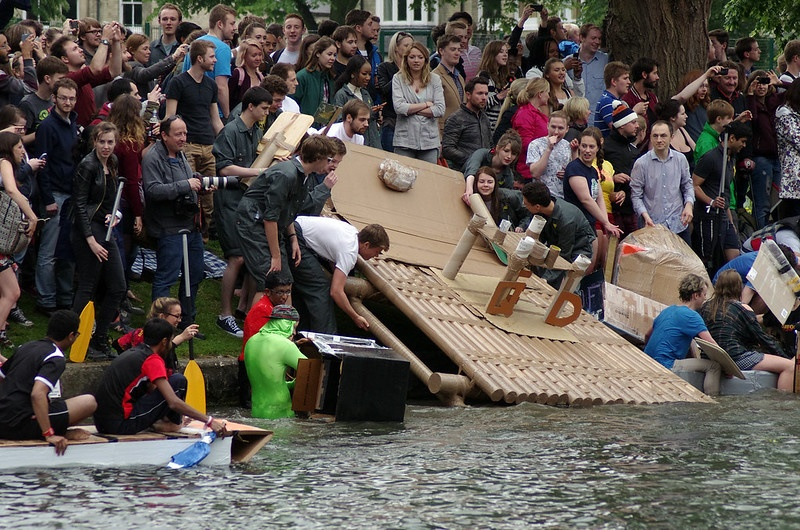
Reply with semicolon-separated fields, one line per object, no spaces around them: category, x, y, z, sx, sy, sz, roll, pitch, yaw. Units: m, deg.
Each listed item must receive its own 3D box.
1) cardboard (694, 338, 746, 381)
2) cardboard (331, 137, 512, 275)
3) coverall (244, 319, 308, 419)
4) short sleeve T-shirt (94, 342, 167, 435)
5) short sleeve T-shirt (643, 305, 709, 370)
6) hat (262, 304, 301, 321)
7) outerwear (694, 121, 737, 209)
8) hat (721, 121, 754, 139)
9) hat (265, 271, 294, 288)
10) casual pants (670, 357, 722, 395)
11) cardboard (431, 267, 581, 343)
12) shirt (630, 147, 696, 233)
cardboard;4.239;1.266;18.214;0.643;0.562;0.380;2;5;15
cardboard;0.194;-0.765;19.156;1.992;0.533;1.892;18;41;-28
coverall;-1.528;1.258;16.544;0.682;1.196;0.314;0;5;-7
short sleeve T-shirt;-3.049;1.338;15.170;0.904;0.942;0.711;-2;14;-44
short sleeve T-shirt;3.729;1.009;18.475;0.351;0.610;0.613;-1;32;-48
hat;-1.414;0.586;16.577;0.350;0.200;0.191;-1;5;-9
outerwear;4.847;-1.547;21.171;0.590;1.710;1.204;-6;3;14
hat;5.181;-2.141;21.176;0.347;0.370;0.288;-7;11;21
hat;-1.497;0.173;16.939;0.251;0.264;0.207;-17;-23;20
casual pants;3.983;1.466;18.401;0.499;0.399;0.521;13;-1;19
cardboard;1.505;0.649;18.316;1.169;0.152;1.316;11;24;-36
shirt;3.874;-1.105;20.520;1.054;1.465;0.774;-5;7;-9
